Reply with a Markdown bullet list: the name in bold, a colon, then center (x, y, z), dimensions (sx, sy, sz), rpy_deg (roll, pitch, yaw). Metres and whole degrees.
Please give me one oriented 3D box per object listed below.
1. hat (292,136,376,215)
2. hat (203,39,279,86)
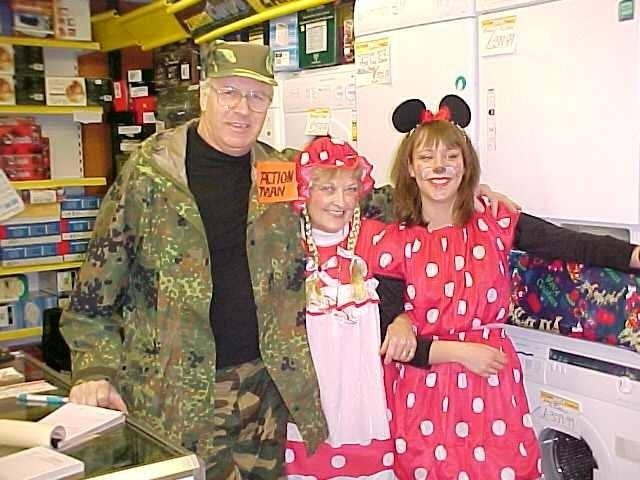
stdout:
- **hat**: center (-0.005, -0.228, 1.767), dimensions (0.368, 0.150, 0.380), rpy_deg (10, -20, -3)
- **hat**: center (-0.260, -0.599, 1.656), dimensions (0.248, 0.113, 0.353), rpy_deg (0, 23, -24)
